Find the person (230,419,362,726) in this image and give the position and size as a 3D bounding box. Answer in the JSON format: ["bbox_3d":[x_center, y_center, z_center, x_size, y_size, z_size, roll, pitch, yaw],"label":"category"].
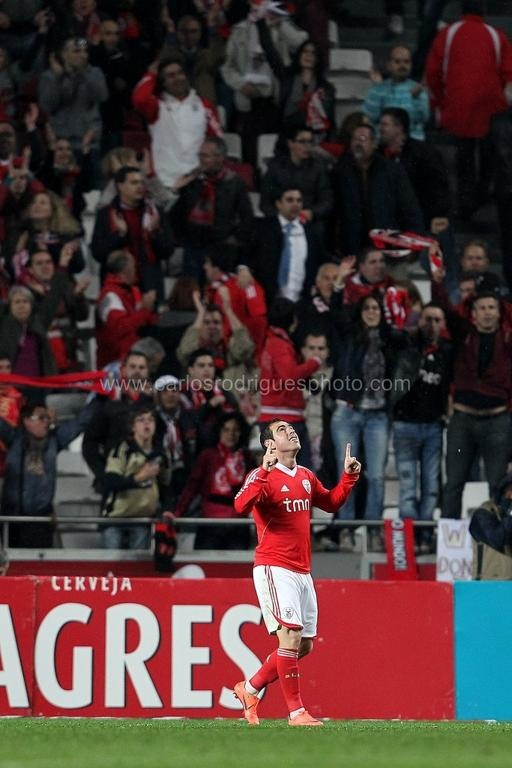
[{"bbox_3d":[0.134,1.056,11.616,0.464,1.686,0.402,-1,1,-6],"label":"person"}]
